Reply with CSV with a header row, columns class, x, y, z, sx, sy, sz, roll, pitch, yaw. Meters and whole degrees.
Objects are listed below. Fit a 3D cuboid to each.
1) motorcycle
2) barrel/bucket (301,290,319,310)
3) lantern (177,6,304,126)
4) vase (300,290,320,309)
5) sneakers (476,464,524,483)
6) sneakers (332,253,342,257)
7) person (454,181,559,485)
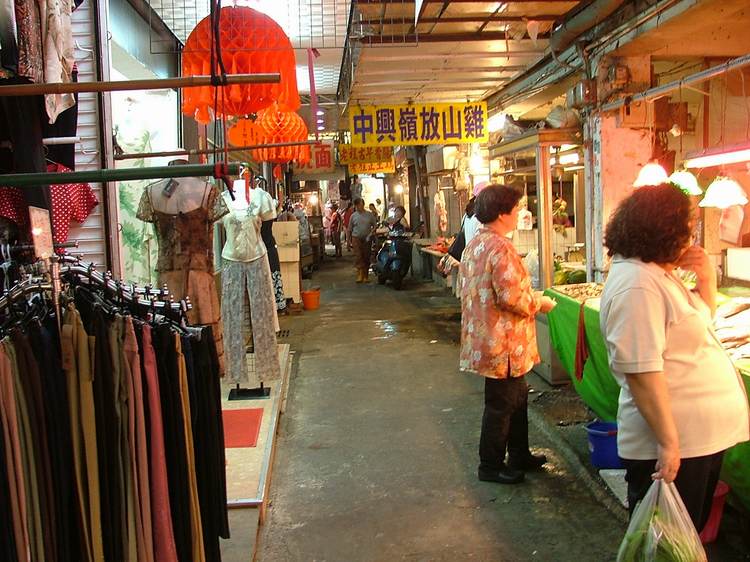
class,x,y,z,sx,sy,sz,roll,pitch,yaw
motorcycle,0.428,-0.563,13.499,0.845,1.490,1.839,-3,8,0
barrel/bucket,-1.168,0.355,10.852,0.339,0.342,0.340,-3,8,0
lantern,-0.983,-1.614,4.208,0.850,0.809,0.905,-4,8,-8
vase,-1.189,0.367,10.930,0.299,0.315,0.333,-1,-3,-23
sneakers,0.862,1.339,4.013,0.306,0.150,0.119,-1,5,7
sneakers,-1.538,-1.051,24.057,0.336,0.218,0.182,13,-42,-22
person,0.896,0.373,3.971,0.605,2.036,0.492,-1,8,13
